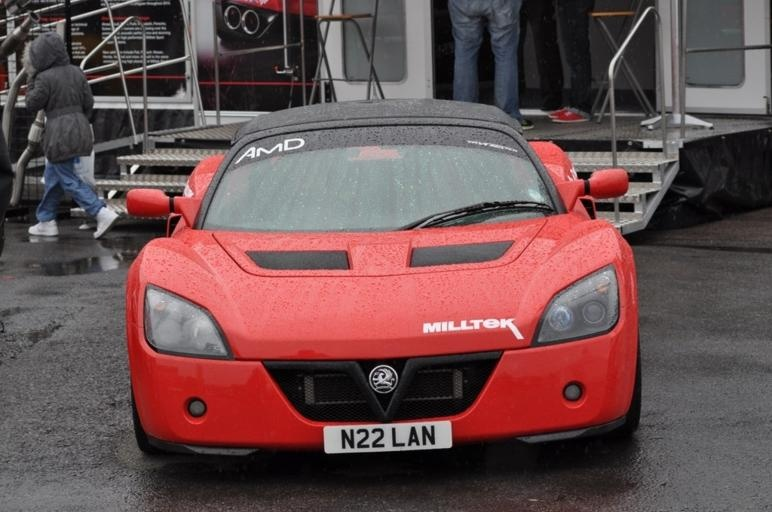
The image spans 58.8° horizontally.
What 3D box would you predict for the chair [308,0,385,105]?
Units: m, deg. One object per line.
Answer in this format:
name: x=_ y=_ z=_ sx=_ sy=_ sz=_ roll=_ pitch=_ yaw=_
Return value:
chair: x=-0.702 y=-3.664 z=12.085 sx=1.265 sy=1.793 sz=2.236 roll=-3 pitch=13 yaw=-5
